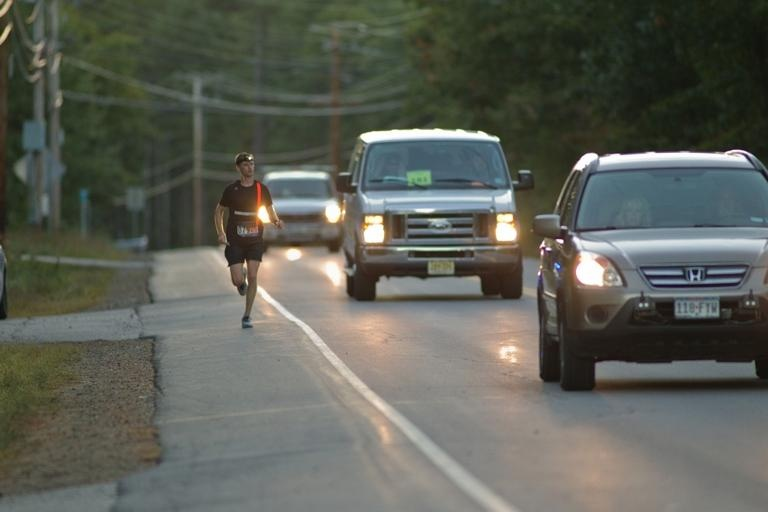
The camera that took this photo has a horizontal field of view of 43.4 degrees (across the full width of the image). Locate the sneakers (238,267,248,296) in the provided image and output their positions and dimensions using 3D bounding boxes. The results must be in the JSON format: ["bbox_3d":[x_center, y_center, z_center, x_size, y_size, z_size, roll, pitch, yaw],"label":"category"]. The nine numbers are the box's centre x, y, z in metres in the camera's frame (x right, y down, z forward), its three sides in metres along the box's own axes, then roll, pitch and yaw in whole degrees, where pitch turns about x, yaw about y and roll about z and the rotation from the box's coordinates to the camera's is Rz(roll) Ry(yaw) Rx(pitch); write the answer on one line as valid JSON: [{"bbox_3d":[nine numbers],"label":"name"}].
[{"bbox_3d":[-2.184,0.440,15.009,0.157,0.511,0.212,-2,23,-4],"label":"sneakers"}]

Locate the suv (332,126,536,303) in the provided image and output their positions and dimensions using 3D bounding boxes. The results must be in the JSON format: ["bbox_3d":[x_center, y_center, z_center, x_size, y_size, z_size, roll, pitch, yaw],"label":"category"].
[{"bbox_3d":[0.715,-0.975,20.351,2.450,2.289,4.210,0,-2,-7],"label":"suv"}]

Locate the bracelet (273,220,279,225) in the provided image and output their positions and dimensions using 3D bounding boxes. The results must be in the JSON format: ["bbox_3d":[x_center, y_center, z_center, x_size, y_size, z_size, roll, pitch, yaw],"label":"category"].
[{"bbox_3d":[-1.657,-0.516,14.854,0.070,0.032,0.101,37,-13,-15],"label":"bracelet"}]

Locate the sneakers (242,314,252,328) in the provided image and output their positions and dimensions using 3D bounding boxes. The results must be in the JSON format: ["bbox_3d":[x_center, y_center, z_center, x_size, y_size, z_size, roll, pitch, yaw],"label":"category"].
[{"bbox_3d":[-2.079,1.006,14.730,0.159,0.184,0.261,-5,7,-8],"label":"sneakers"}]
